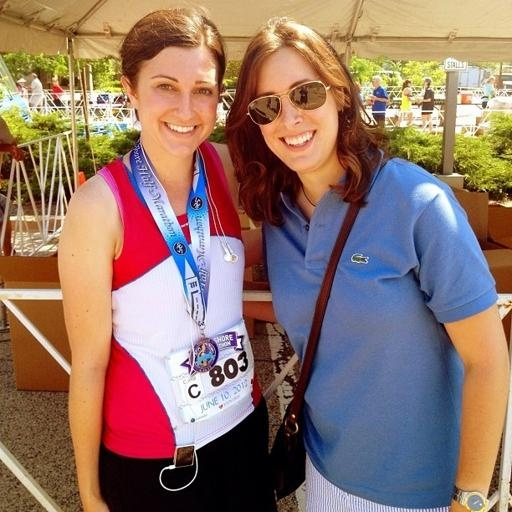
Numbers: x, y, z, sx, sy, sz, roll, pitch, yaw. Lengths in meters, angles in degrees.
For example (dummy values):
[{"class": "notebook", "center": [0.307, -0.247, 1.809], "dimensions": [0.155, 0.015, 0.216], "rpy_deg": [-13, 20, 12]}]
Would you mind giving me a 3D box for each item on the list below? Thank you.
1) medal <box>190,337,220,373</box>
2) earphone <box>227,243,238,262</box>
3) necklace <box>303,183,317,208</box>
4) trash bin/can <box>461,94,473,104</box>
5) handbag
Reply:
[{"class": "medal", "center": [-0.155, 0.290, 1.406], "dimensions": [0.128, 0.125, 0.020], "rpy_deg": [-1, -2, -39]}, {"class": "earphone", "center": [-0.080, -0.014, 1.509], "dimensions": [0.013, 0.053, 0.032], "rpy_deg": [-39, -13, 26]}, {"class": "necklace", "center": [0.179, -0.208, 1.616], "dimensions": [0.018, 0.065, 0.072], "rpy_deg": [-27, 19, -21]}, {"class": "trash bin/can", "center": [9.466, -7.119, 21.346], "dimensions": [0.596, 0.393, 0.326], "rpy_deg": [1, 3, 17]}, {"class": "handbag", "center": [0.103, 0.664, 1.629], "dimensions": [0.107, 0.275, 0.173], "rpy_deg": [-3, -6, -6]}]
